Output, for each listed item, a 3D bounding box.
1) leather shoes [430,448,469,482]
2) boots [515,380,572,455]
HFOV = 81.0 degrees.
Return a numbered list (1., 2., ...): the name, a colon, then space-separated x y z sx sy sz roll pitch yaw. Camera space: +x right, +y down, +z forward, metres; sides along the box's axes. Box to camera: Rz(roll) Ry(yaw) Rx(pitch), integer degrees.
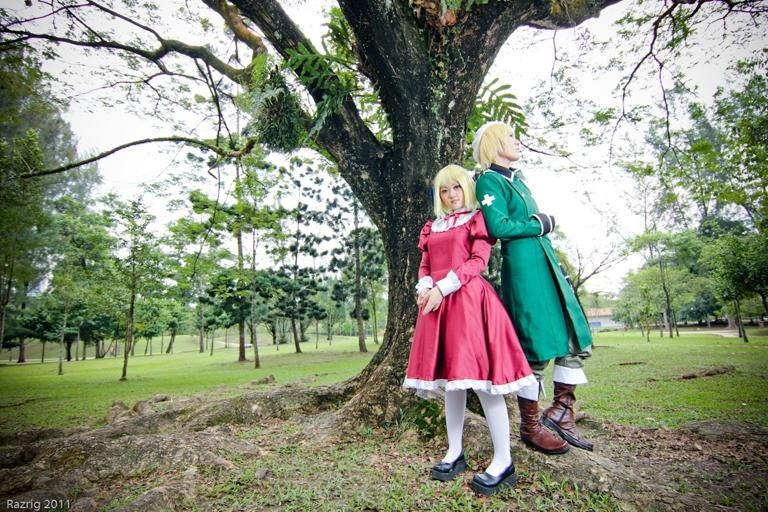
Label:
1. leather shoes: 0.886 2.933 6.230 0.620 0.242 0.231 14 -29 -42
2. boots: 2.193 2.328 6.263 0.728 0.740 0.373 7 18 44
